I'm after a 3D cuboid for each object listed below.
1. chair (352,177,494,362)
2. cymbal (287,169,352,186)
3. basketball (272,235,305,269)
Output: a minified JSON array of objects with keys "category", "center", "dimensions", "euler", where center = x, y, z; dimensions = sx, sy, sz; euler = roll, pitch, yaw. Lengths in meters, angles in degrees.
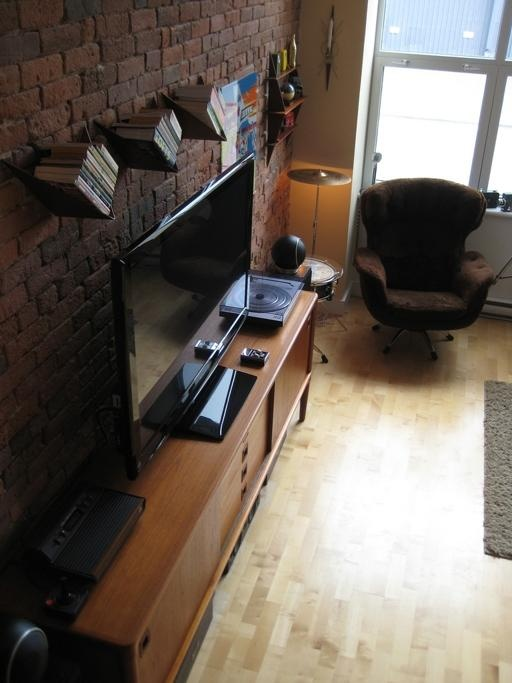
[{"category":"chair","center":[1.113,-0.505,3.455],"dimensions":[0.850,1.103,0.904],"euler":[9,21,31]},{"category":"cymbal","center":[0.405,-1.073,3.375],"dimensions":[0.354,0.098,0.321],"euler":[-13,32,-23]},{"category":"basketball","center":[0.205,-0.524,3.010],"dimensions":[0.166,0.195,0.203],"euler":[16,16,6]}]
